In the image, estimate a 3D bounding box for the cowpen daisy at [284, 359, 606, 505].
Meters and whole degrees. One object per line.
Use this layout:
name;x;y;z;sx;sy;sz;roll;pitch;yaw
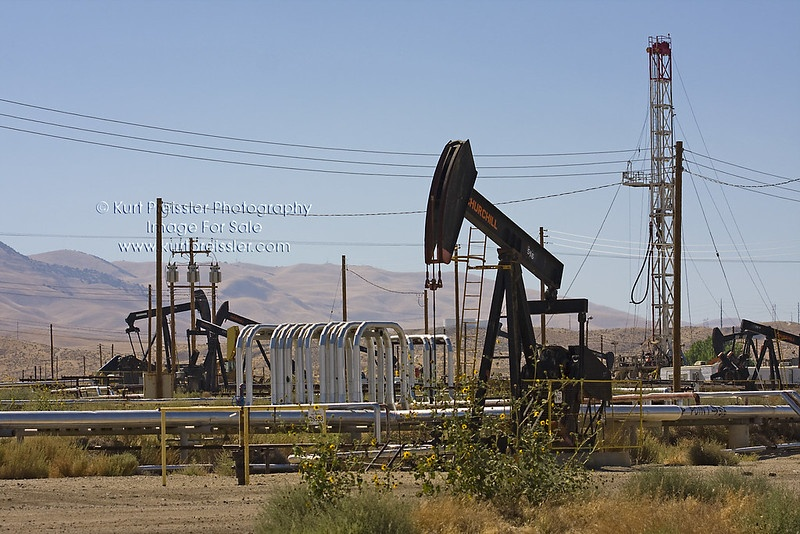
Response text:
cowpen daisy;2.686;6.434;35.885;5.494;4.523;3.709;-17;-17;-20

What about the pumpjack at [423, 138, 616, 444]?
pumpjack;4.382;1.775;41.915;2.963;11.377;10.630;-5;-8;40
